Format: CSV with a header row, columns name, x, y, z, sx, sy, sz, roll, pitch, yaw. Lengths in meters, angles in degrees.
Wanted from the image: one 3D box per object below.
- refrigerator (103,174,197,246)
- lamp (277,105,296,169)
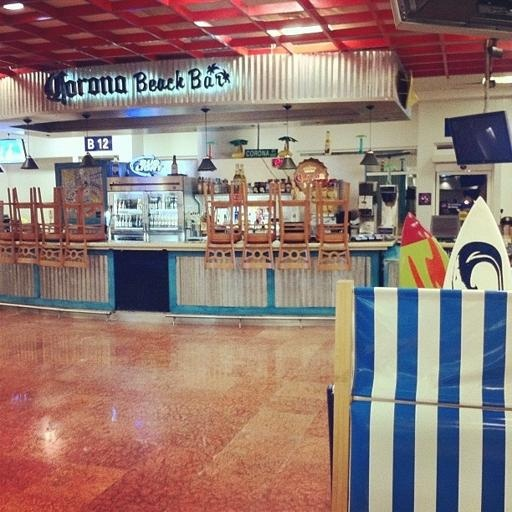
name,x,y,z,sx,sy,sz,roll,pitch,yaw
refrigerator,-2.009,-0.917,10.514,1.399,1.427,0.480,1,3,9
lamp,0.519,-1.979,8.867,0.349,1.025,0.345,8,13,36
